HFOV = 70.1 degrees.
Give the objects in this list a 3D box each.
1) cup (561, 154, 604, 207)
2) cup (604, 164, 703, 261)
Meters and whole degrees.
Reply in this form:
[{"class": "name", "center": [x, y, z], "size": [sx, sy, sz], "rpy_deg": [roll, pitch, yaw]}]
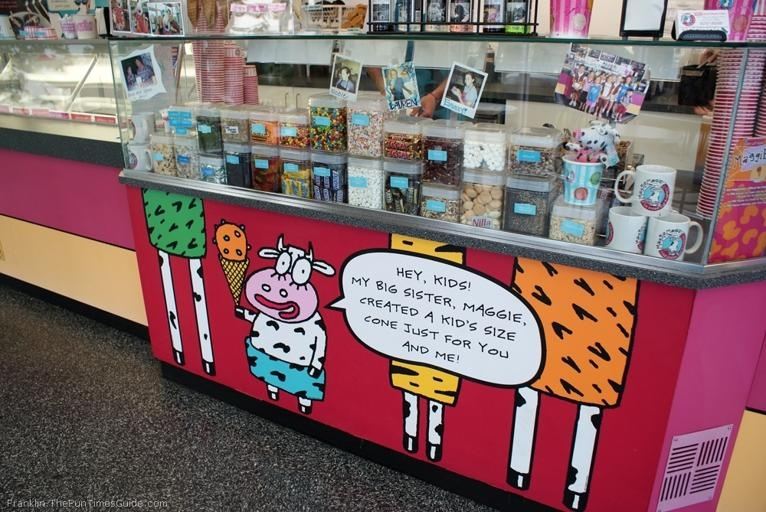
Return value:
[{"class": "cup", "center": [0.822, -0.303, 2.252], "size": [0.184, 0.181, 0.174], "rpy_deg": [4, 17, -1]}, {"class": "cup", "center": [1.031, -0.180, 2.183], "size": [0.298, 0.351, 0.300], "rpy_deg": [0, 21, 0]}]
